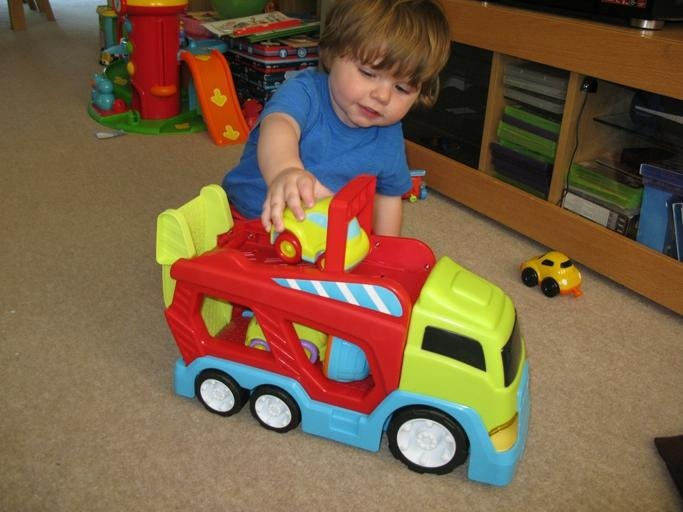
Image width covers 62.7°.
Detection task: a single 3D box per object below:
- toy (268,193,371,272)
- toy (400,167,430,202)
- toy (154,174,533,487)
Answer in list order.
[{"bbox_3d":[-0.030,-0.043,1.024,0.177,0.119,0.129,19,22,26],"label":"toy"},{"bbox_3d":[0.260,-0.243,1.952,0.119,0.136,0.053,3,7,24],"label":"toy"},{"bbox_3d":[0.003,0.098,1.129,0.722,0.515,0.283,11,24,16],"label":"toy"}]
